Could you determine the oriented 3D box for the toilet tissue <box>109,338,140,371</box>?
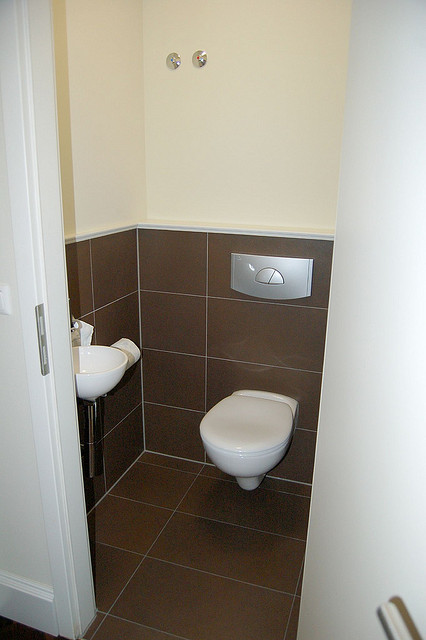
[{"bbox_3d":[-0.382,0.144,2.079,0.115,0.048,0.121,33,29,8],"label":"toilet tissue"}]

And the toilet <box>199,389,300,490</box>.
[{"bbox_3d":[0.160,0.507,2.087,0.377,0.215,0.498,6,15,16],"label":"toilet"}]
